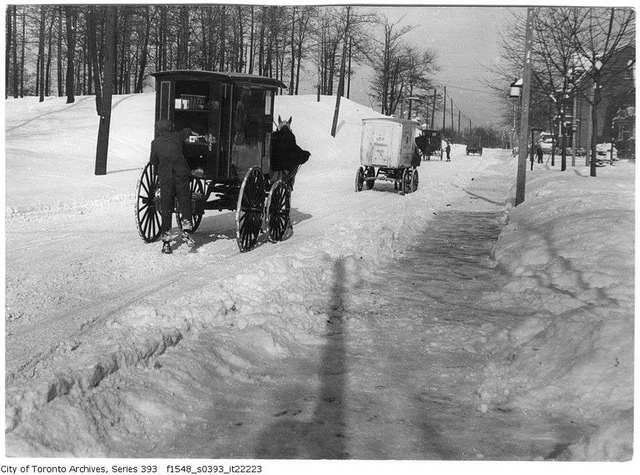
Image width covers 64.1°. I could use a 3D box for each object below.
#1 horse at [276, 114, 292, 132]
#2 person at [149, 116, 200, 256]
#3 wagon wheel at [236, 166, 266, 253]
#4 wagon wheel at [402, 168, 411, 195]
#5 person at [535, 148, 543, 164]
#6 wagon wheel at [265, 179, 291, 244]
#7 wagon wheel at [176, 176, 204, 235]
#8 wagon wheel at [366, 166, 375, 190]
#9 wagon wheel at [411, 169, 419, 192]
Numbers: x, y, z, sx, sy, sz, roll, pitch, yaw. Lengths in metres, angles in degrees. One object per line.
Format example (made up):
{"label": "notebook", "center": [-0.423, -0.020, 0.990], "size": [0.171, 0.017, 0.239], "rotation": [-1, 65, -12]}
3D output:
{"label": "horse", "center": [-0.942, -3.012, 13.442], "size": [0.440, 0.547, 0.519], "rotation": [0, -2, -4]}
{"label": "person", "center": [-3.134, -1.070, 10.909], "size": [0.692, 2.758, 0.733], "rotation": [16, 19, 42]}
{"label": "wagon wheel", "center": [-1.568, -0.655, 11.614], "size": [0.398, 1.842, 1.532], "rotation": [7, 15, 15]}
{"label": "wagon wheel", "center": [3.900, -2.495, 22.936], "size": [0.214, 0.902, 0.912], "rotation": [-1, 43, 16]}
{"label": "person", "center": [18.981, -7.078, 44.038], "size": [0.275, 1.224, 2.022], "rotation": [7, 15, 14]}
{"label": "wagon wheel", "center": [-0.998, -0.596, 12.410], "size": [0.429, 1.492, 1.424], "rotation": [6, 13, 16]}
{"label": "wagon wheel", "center": [-3.104, -0.787, 12.255], "size": [0.630, 1.644, 2.356], "rotation": [0, 15, -13]}
{"label": "wagon wheel", "center": [2.374, -2.796, 23.822], "size": [0.322, 1.087, 0.760], "rotation": [4, 14, 3]}
{"label": "wagon wheel", "center": [4.488, -2.695, 24.170], "size": [0.297, 1.113, 1.053], "rotation": [1, -4, 22]}
